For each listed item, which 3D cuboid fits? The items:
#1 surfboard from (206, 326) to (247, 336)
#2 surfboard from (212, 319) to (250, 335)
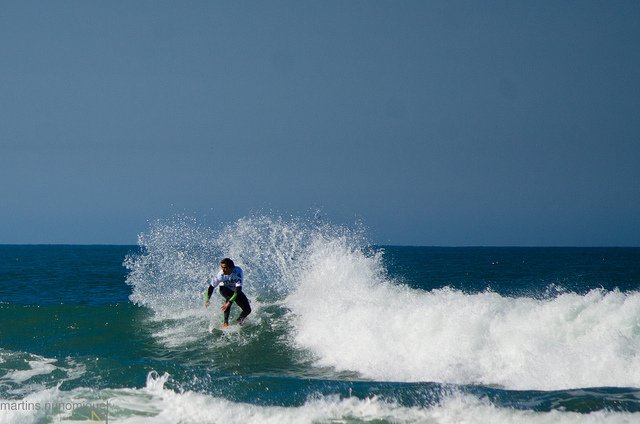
[{"bbox_3d":[-3.617,4.557,29.385,1.484,0.443,0.479,3,30,1],"label":"surfboard"},{"bbox_3d":[-3.465,4.442,29.602,1.500,0.441,0.613,2,-2,-31],"label":"surfboard"}]
